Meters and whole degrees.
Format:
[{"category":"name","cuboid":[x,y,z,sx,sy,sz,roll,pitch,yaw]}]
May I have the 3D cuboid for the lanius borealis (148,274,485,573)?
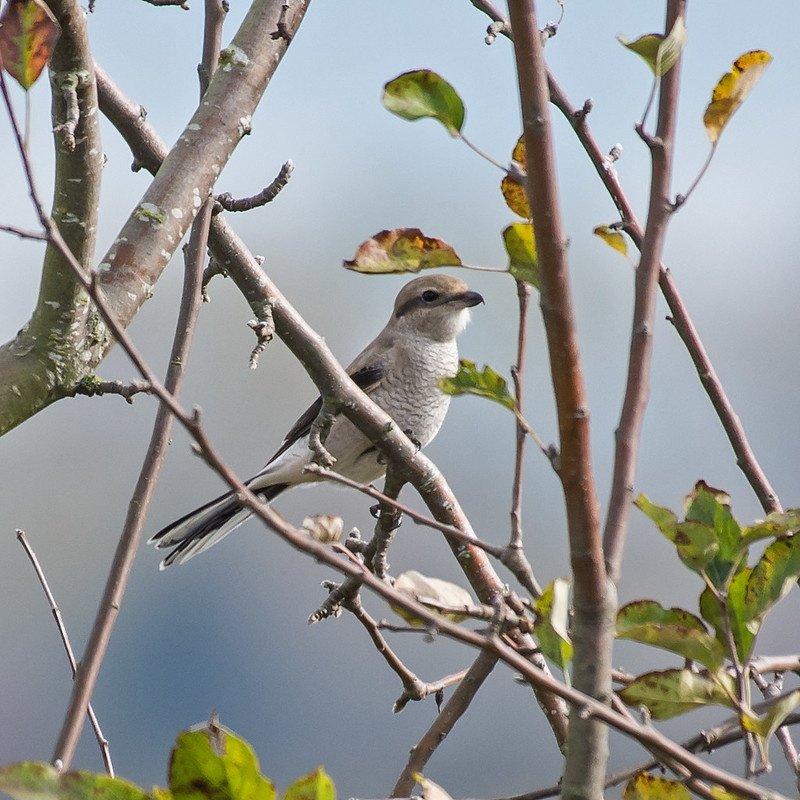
[{"category":"lanius borealis","cuboid":[-0.201,0.000,4.437,0.824,1.491,0.549,-17,-51,33]}]
